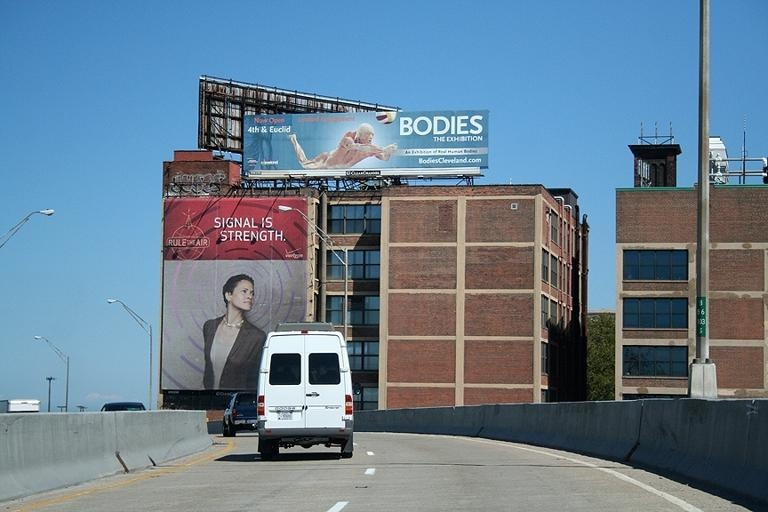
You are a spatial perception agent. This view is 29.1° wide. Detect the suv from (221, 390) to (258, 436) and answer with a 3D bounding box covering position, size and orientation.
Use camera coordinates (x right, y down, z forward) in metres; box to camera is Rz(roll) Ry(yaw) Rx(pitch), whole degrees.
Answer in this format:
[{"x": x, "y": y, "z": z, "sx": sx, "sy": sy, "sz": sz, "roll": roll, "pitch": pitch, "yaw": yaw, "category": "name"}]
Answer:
[{"x": -6.669, "y": 7.307, "z": 68.842, "sx": 1.509, "sy": 2.058, "sz": 1.712, "roll": -2, "pitch": 3, "yaw": -9, "category": "suv"}]
